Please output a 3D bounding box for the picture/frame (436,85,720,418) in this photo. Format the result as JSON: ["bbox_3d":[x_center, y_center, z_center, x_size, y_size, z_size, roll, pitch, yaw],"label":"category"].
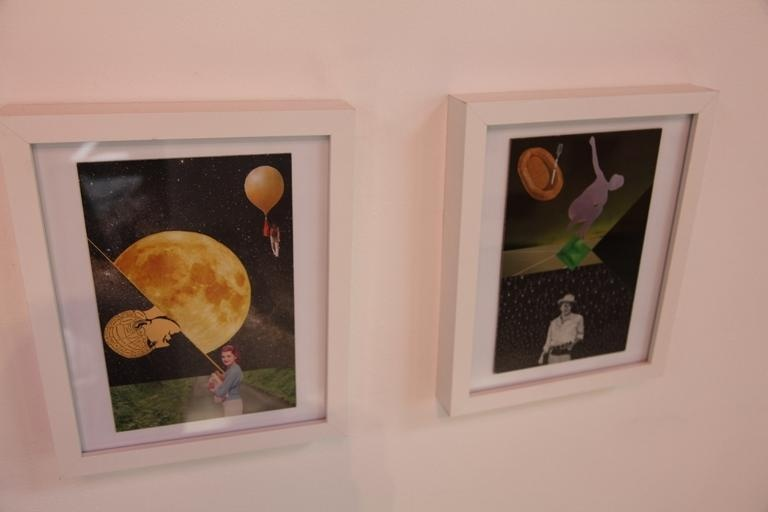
[{"bbox_3d":[0.309,-0.023,1.061,0.581,0.677,0.056,-6,22,-15],"label":"picture/frame"}]
